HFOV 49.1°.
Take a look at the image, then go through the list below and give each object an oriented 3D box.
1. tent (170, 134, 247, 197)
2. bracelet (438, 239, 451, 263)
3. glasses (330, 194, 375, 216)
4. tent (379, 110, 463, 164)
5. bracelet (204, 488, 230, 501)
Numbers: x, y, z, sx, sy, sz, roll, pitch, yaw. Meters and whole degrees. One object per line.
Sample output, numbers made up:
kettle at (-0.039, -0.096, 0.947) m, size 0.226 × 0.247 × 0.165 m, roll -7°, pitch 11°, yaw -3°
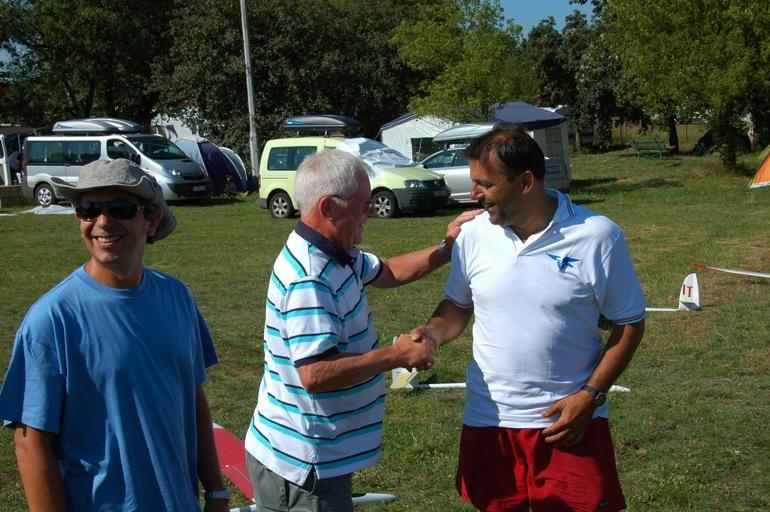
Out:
tent at (-5.998, -3.181, 28.683) m, size 1.846 × 1.107 × 2.267 m, roll 7°, pitch 17°, yaw 25°
bracelet at (0.587, -0.058, 8.295) m, size 0.060 × 0.165 × 0.162 m, roll -5°, pitch -38°, yaw 3°
glasses at (-0.289, -0.469, 7.573) m, size 0.248 × 0.084 × 0.202 m, roll 13°, pitch 7°, yaw -1°
tent at (1.411, -4.177, 30.497) m, size 2.073 × 1.435 × 2.056 m, roll -11°, pitch 15°, yaw -43°
bracelet at (-1.440, 2.058, 7.335) m, size 0.157 × 0.105 × 0.161 m, roll -15°, pitch -18°, yaw 37°
